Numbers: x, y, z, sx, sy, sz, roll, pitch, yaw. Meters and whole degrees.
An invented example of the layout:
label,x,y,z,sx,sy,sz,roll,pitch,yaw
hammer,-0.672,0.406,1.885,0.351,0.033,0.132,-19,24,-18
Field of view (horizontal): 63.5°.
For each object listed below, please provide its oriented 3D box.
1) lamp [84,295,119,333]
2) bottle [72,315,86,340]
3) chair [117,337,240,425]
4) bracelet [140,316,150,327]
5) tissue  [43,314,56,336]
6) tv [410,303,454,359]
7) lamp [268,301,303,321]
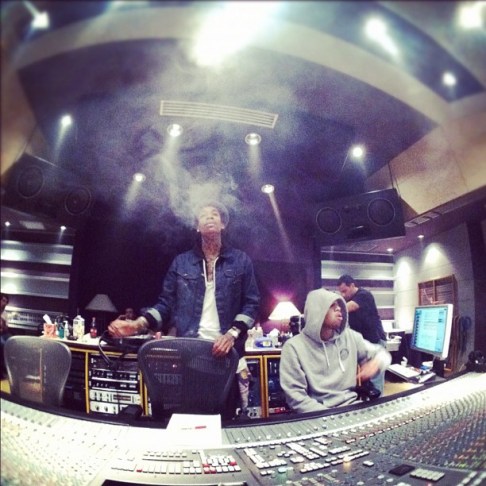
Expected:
label,x,y,z,sx,sy,sz,roll,pitch,yaw
lamp,-0.638,0.311,1.752,0.130,0.216,0.139,-1,-20,-2
bottle,-0.601,0.314,1.436,0.033,0.111,0.093,0,-7,-10
chair,-0.187,0.359,1.145,0.213,0.322,0.244,0,-6,1
bracelet,-0.350,0.281,1.399,0.021,0.032,0.030,3,-17,-22
tissue ,-0.619,0.267,1.266,0.023,0.079,0.054,1,7,6
tv,0.684,0.311,1.414,0.028,0.247,0.168,-7,15,-33
lamp,0.155,0.257,1.483,0.082,0.059,0.088,-7,-9,25
